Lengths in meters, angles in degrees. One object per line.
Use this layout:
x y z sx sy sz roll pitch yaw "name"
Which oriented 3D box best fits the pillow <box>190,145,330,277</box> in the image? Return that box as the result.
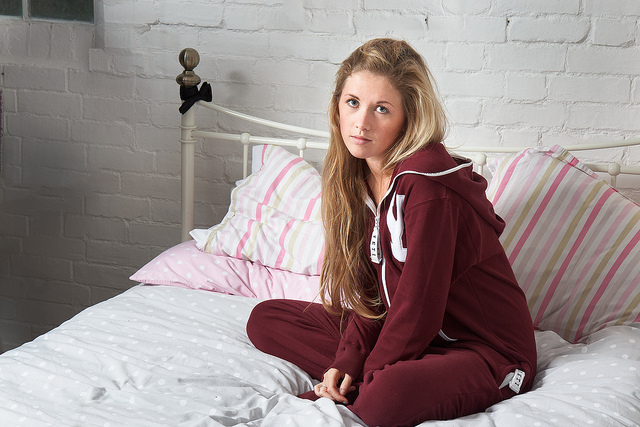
-0.209 -0.050 2.286 0.507 0.491 0.151 3 -18 32 "pillow"
